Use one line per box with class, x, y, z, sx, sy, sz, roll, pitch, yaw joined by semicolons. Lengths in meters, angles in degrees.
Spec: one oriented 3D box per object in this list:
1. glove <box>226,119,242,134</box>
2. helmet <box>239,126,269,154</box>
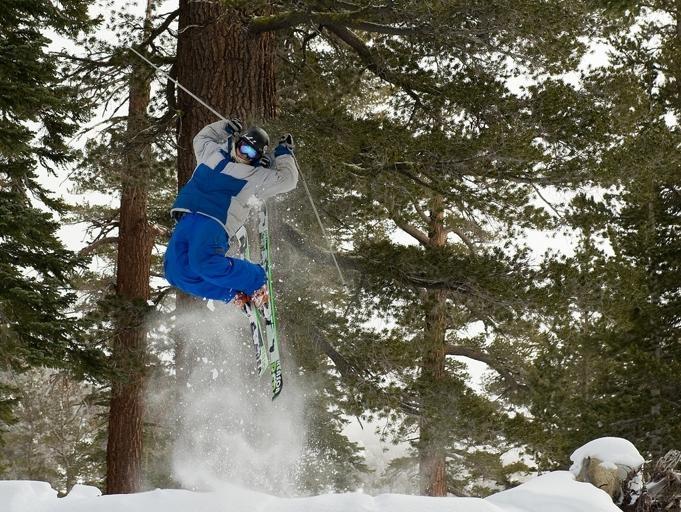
glove;-1.802;-2.151;19.194;0.207;0.217;0.239;-12;19;-27
helmet;-1.441;-1.886;19.063;0.383;0.452;0.365;31;-67;-30
